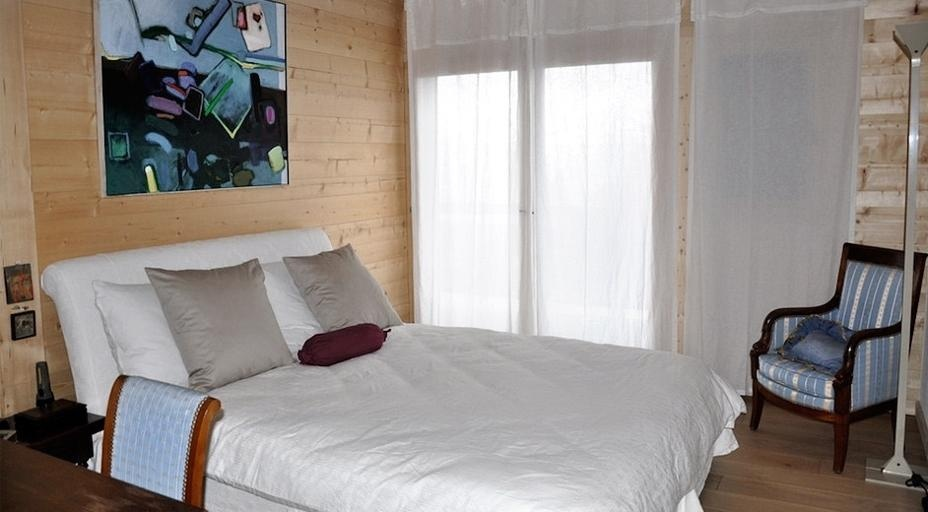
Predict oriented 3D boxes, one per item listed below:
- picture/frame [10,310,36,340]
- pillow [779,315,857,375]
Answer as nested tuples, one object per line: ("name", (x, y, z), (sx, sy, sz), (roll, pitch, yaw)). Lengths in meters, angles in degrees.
("picture/frame", (-3.047, 0.471, 4.378), (0.032, 0.221, 0.215), (-1, 4, 44))
("pillow", (2.795, 0.706, 5.022), (0.459, 0.134, 0.442), (21, 64, 44))
